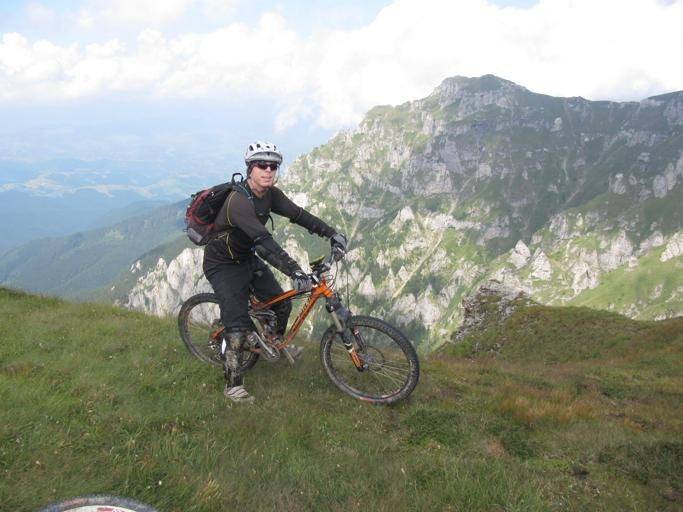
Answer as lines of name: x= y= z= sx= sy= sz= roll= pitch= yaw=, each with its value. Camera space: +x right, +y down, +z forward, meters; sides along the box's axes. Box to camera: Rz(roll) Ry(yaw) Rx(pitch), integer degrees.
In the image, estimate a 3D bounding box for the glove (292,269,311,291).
glove: x=-1.080 y=0.654 z=14.432 sx=0.556 sy=0.281 sz=0.412 roll=44 pitch=30 yaw=22
